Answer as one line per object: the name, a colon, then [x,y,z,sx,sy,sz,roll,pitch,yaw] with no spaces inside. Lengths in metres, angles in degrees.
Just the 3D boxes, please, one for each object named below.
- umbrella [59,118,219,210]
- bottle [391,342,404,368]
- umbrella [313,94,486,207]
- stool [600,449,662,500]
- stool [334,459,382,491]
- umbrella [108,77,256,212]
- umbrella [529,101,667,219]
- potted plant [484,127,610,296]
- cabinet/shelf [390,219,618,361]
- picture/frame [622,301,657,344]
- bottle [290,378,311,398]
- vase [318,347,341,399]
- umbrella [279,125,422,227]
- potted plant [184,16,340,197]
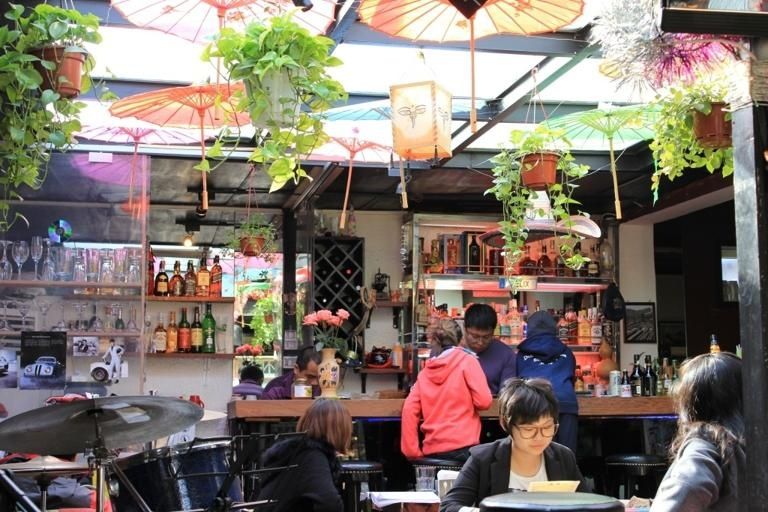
umbrella: [-2.033,-0.877,7.257,0.915,0.735,0.924,3,10,21]
bottle: [0.155,1.165,10.109,0.129,0.274,0.106,-2,-9,1]
umbrella: [-0.013,-0.920,6.738,1.024,0.642,0.992,-1,-11,-2]
stool: [2.005,1.774,6.847,0.449,0.473,0.436,-2,-1,-7]
stool: [-0.184,1.564,6.220,0.332,0.199,0.319,6,-9,-25]
umbrella: [-1.614,-0.895,6.808,0.931,0.770,0.943,-11,-14,26]
umbrella: [1.727,-0.686,6.560,0.900,0.751,0.869,-5,0,39]
potted plant: [1.197,-0.439,6.533,0.715,0.909,0.694,5,-9,22]
cabinet/shelf: [1.124,0.278,11.872,3.970,1.288,3.571,-1,-2,-4]
picture/frame: [3.094,0.801,10.486,0.048,0.500,0.472,2,-5,-39]
bottle: [-0.665,1.071,7.005,0.151,0.159,0.174,-1,-9,-6]
vase: [-0.456,0.943,7.033,0.162,0.411,0.516,-1,-9,-4]
umbrella: [-0.217,-0.815,7.678,0.998,0.745,0.863,3,-15,-8]
potted plant: [-0.502,-0.712,4.047,0.652,0.825,0.359,0,-9,-12]
